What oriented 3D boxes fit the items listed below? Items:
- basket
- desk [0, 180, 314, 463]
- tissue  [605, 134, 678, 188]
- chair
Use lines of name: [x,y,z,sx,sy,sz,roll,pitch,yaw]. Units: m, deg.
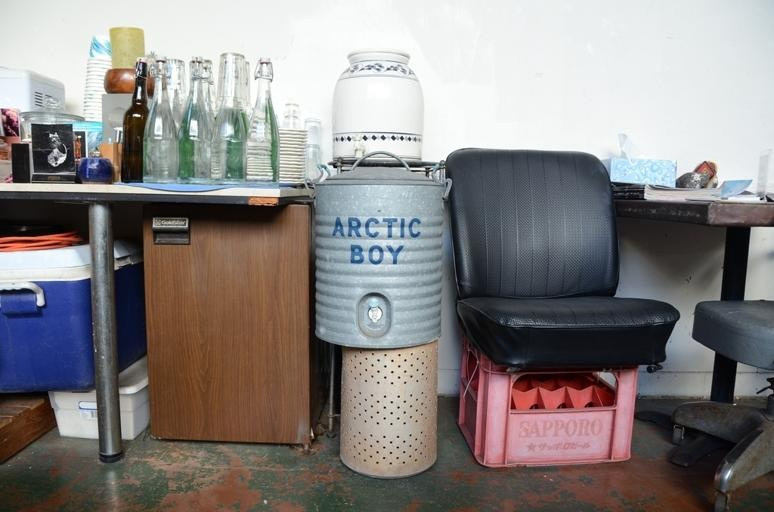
basket: [0.709,0.621,2.746,0.627,0.356,0.597,0,1,0]
desk: [-0.975,0.230,3.103,1.241,1.068,1.193,2,8,-1]
tissue : [1.313,-0.493,3.138,0.355,0.240,0.186,0,3,-2]
chair: [0.742,-0.012,3.043,1.140,1.123,1.045,0,0,-9]
